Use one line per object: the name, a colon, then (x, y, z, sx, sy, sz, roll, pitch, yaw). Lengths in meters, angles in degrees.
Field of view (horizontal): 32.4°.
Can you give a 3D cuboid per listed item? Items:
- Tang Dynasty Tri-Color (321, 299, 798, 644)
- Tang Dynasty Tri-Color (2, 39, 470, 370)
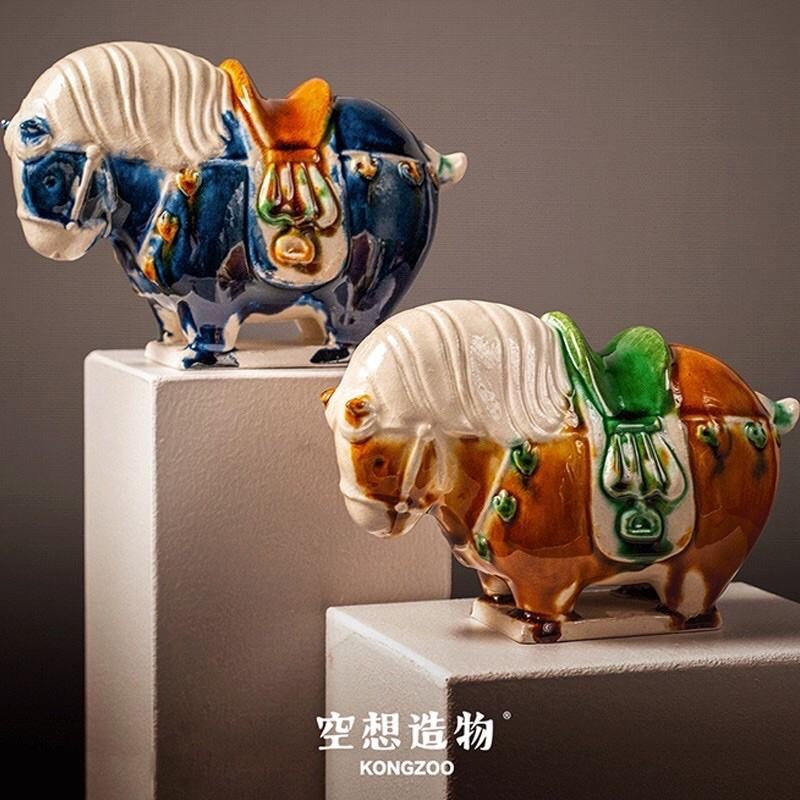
Tang Dynasty Tri-Color: (0.131, 0.073, 1.293, 0.504, 0.298, 0.264, 0, -2, -6)
Tang Dynasty Tri-Color: (-0.178, -0.225, 1.695, 0.602, 0.355, 0.270, 1, 0, -12)
